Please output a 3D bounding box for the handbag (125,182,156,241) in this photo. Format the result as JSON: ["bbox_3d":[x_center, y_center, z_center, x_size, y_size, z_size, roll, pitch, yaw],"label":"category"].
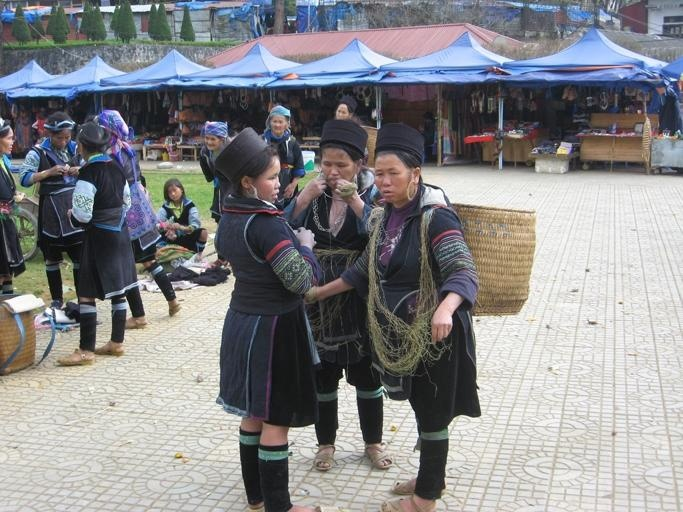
[{"bbox_3d":[-1.941,-0.415,6.512,0.125,0.467,0.361,-8,3,24],"label":"handbag"}]

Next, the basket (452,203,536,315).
[{"bbox_3d":[0.982,0.053,3.911,0.582,0.602,0.557,7,-3,-12],"label":"basket"}]

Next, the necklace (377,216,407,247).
[{"bbox_3d":[0.266,-0.140,3.729,0.108,0.137,0.054,8,-9,30],"label":"necklace"}]

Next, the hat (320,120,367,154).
[{"bbox_3d":[0.008,-0.708,3.943,0.222,0.129,0.214,0,10,-44],"label":"hat"}]

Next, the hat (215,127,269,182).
[{"bbox_3d":[-0.522,-0.528,3.535,0.287,0.283,0.180,-5,12,-12],"label":"hat"}]

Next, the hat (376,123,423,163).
[{"bbox_3d":[0.335,-0.621,3.665,0.255,0.108,0.202,5,1,-16],"label":"hat"}]

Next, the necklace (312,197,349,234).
[{"bbox_3d":[-0.114,-0.233,4.066,0.179,0.226,0.034,-1,-6,14],"label":"necklace"}]

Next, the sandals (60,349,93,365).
[{"bbox_3d":[-2.228,0.843,5.661,0.238,0.109,0.122,4,-2,-3],"label":"sandals"}]

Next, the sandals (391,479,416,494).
[{"bbox_3d":[0.366,1.329,3.912,0.166,0.062,0.094,3,9,8],"label":"sandals"}]

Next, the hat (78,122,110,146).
[{"bbox_3d":[-2.027,-0.992,5.484,0.235,0.198,0.232,-4,12,-11],"label":"hat"}]
